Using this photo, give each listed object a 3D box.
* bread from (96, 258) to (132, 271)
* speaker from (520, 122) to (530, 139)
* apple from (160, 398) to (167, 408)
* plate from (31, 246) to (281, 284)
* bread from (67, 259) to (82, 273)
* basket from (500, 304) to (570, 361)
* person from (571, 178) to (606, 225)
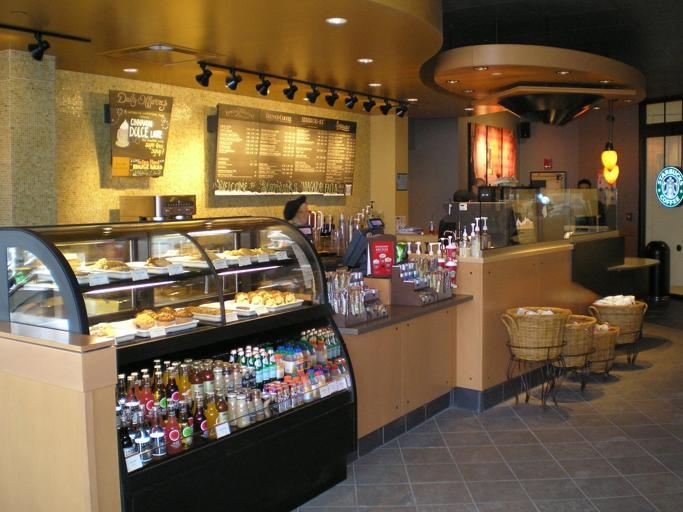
[{"bbox_3d":[-1.270,0.045,3.049,0.051,0.080,0.197,3,8,30],"label":"bread"},{"bbox_3d":[3.994,-2.745,12.045,0.278,0.375,0.244,0,7,11],"label":"speaker"},{"bbox_3d":[-1.003,0.823,3.109,0.040,0.063,0.039,1,1,15],"label":"apple"},{"bbox_3d":[-0.969,0.086,3.328,0.128,0.187,1.082,-9,-1,44],"label":"plate"},{"bbox_3d":[-1.378,0.047,2.847,0.020,0.067,0.076,-2,4,24],"label":"bread"},{"bbox_3d":[1.863,0.738,5.308,0.498,0.377,0.597,-2,0,29],"label":"basket"},{"bbox_3d":[3.456,-0.668,7.640,0.209,0.532,1.213,4,8,34],"label":"person"}]
